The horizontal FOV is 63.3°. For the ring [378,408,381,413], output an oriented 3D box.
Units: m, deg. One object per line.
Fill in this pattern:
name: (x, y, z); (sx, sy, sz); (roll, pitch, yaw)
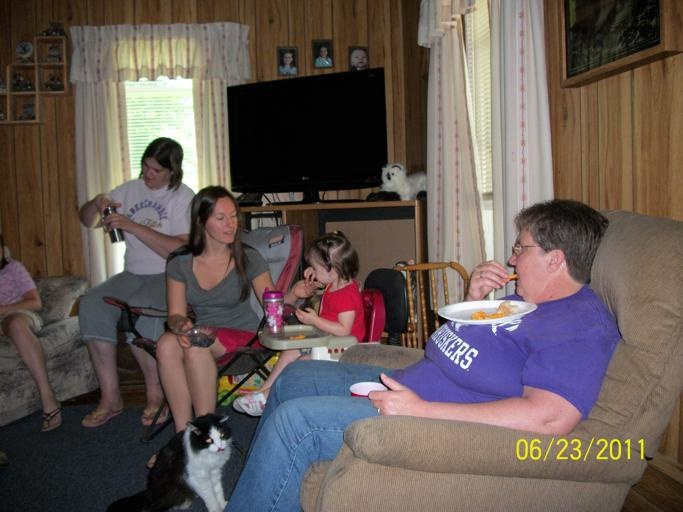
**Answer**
ring: (0.127, 0.521, 1.866); (0.015, 0.018, 0.020); (0, -9, 3)

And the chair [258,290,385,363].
chair: (-0.069, 0.313, 2.671); (0.551, 0.366, 0.304); (2, 1, -17)

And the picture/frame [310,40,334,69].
picture/frame: (-0.172, -1.836, 5.024); (0.247, 0.342, 0.034); (-1, 2, -2)

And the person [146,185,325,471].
person: (-0.550, 0.345, 2.856); (0.755, 1.342, 0.712); (3, 0, 3)

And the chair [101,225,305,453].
chair: (-0.797, 0.382, 3.399); (1.151, 1.453, 1.121); (3, -3, -28)

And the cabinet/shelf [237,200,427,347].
cabinet/shelf: (-0.020, 0.101, 3.322); (1.028, 1.039, 0.375); (2, 1, 10)

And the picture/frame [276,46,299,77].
picture/frame: (-0.500, -1.771, 5.028); (0.265, 0.380, 0.037); (0, 8, -3)

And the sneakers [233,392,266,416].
sneakers: (-0.454, 0.737, 2.784); (0.200, 0.124, 0.084); (-8, 2, 20)

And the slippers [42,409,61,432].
slippers: (-1.712, 0.940, 3.252); (0.105, 0.093, 0.206); (-8, 11, -28)

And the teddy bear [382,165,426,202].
teddy bear: (0.527, -0.603, 4.412); (0.401, 0.294, 0.263); (-12, 21, -28)

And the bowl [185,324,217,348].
bowl: (-0.669, 0.375, 2.618); (0.084, 0.047, 0.115); (10, 8, 30)

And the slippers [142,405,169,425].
slippers: (-1.097, 0.939, 3.234); (0.112, 0.080, 0.215); (0, -18, 13)

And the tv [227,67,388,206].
tv: (-0.277, -0.959, 4.477); (1.291, 1.031, 0.187); (-2, 2, 12)
